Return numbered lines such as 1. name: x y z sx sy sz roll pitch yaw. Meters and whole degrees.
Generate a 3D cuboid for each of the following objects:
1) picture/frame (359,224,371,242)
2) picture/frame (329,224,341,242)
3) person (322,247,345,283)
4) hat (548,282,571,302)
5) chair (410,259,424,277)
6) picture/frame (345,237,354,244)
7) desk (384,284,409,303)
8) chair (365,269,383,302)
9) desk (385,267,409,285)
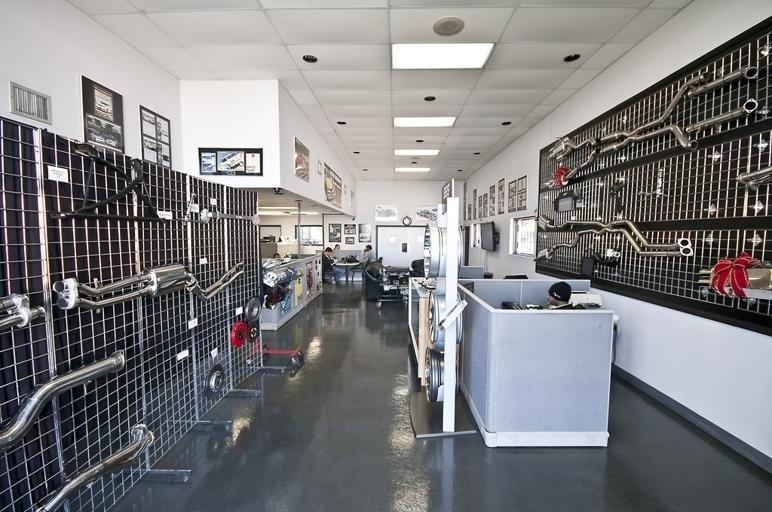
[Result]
1. picture/frame: -0.596 -0.641 13.965 0.366 0.464 0.111 0 14 -5
2. picture/frame: -1.449 -0.660 13.803 0.483 0.666 0.029 0 5 -8
3. person: -1.361 0.241 12.524 0.527 0.935 0.453 -2 9 18
4. hat: 1.939 0.377 5.430 0.216 0.181 0.196 -10 17 -25
5. chair: 0.631 0.253 9.782 0.307 0.357 0.321 1 -3 7
6. picture/frame: -1.037 -0.437 13.900 0.176 0.125 0.015 1 -1 -6
7. desk: 0.190 0.714 9.265 0.541 0.371 0.299 1 4 5
8. chair: -0.224 0.605 9.211 0.303 0.652 0.319 1 13 -1
9. desk: 0.209 0.401 9.272 0.541 0.320 0.374 -2 13 -12
